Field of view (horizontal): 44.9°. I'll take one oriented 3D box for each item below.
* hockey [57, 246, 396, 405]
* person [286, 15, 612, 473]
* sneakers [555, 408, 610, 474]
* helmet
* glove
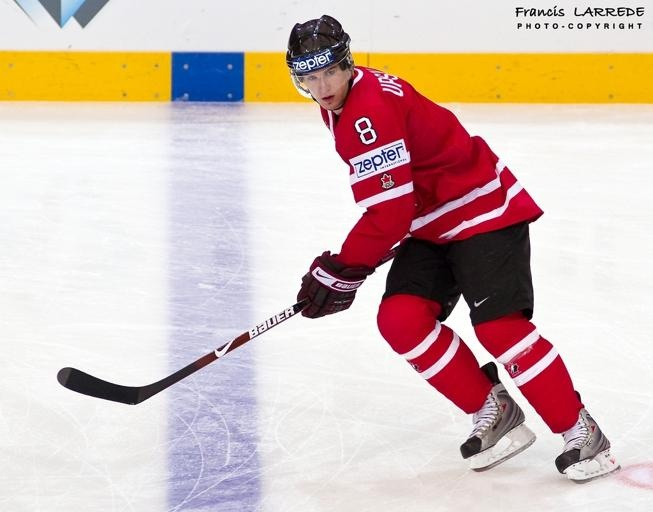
[{"bbox_3d":[-0.307,0.233,2.480,0.862,0.067,0.156,-24,59,4],"label":"hockey"},{"bbox_3d":[0.333,-0.034,2.006,0.978,1.032,0.429,14,27,26],"label":"person"},{"bbox_3d":[0.623,0.460,1.919,0.132,0.122,0.116,-20,32,-41],"label":"sneakers"},{"bbox_3d":[-0.018,-0.495,2.010,0.157,0.205,0.199,-1,24,-7],"label":"helmet"},{"bbox_3d":[0.010,0.077,2.008,0.199,0.141,0.080,-31,27,16],"label":"glove"}]
